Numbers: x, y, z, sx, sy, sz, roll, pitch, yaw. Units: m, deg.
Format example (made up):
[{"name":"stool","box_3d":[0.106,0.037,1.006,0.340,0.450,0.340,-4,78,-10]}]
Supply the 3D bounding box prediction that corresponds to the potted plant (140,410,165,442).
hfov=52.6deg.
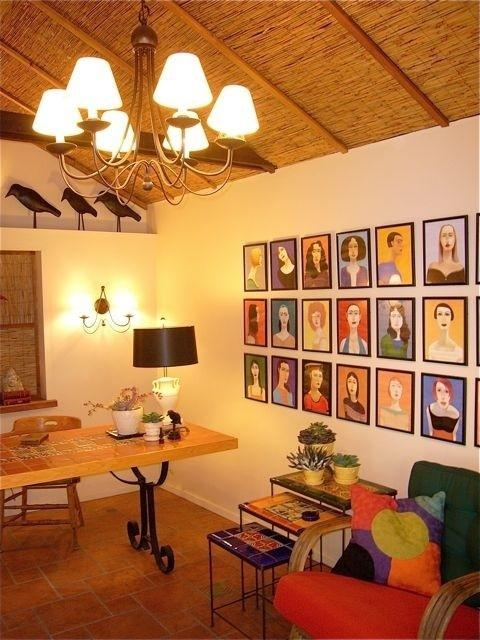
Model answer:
[{"name":"potted plant","box_3d":[-0.530,0.659,2.995,0.141,0.190,0.147,1,-6,1]}]

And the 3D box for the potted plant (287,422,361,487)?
[{"name":"potted plant","box_3d":[0.449,0.709,2.690,0.371,0.272,0.290,2,3,35]}]

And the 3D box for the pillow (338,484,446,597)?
[{"name":"pillow","box_3d":[0.650,0.917,2.057,0.424,0.133,0.444,-1,38,23]}]

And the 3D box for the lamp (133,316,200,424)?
[{"name":"lamp","box_3d":[-0.501,0.350,3.295,0.529,0.626,0.538,-5,1,23]}]

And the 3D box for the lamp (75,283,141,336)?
[{"name":"lamp","box_3d":[-1.304,-0.103,4.652,0.519,0.448,0.256,-2,3,-31]}]
